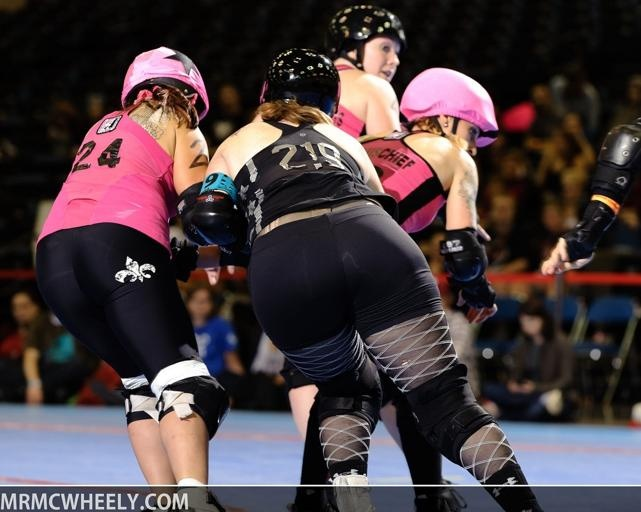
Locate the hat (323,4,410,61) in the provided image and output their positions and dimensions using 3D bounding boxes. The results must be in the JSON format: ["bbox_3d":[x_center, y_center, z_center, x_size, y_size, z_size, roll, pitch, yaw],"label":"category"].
[{"bbox_3d":[0.262,-1.291,5.462,0.377,0.260,0.305,-12,0,-3],"label":"hat"}]

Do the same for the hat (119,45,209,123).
[{"bbox_3d":[-0.765,-0.884,4.913,0.351,0.350,0.454,-21,-32,27],"label":"hat"}]

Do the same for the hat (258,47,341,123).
[{"bbox_3d":[-0.107,-0.790,4.386,0.367,0.270,0.253,-3,24,-20],"label":"hat"}]

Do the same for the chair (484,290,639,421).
[{"bbox_3d":[2.308,0.930,9.256,1.237,1.372,1.481,8,-4,-19],"label":"chair"}]

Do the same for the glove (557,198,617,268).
[{"bbox_3d":[1.379,-0.098,4.811,0.161,0.360,0.246,36,2,-36],"label":"glove"}]

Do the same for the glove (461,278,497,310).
[{"bbox_3d":[0.792,0.201,4.755,0.221,0.140,0.273,-6,-10,28],"label":"glove"}]

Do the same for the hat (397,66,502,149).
[{"bbox_3d":[0.662,-0.744,4.854,0.485,0.274,0.347,10,-10,5],"label":"hat"}]
